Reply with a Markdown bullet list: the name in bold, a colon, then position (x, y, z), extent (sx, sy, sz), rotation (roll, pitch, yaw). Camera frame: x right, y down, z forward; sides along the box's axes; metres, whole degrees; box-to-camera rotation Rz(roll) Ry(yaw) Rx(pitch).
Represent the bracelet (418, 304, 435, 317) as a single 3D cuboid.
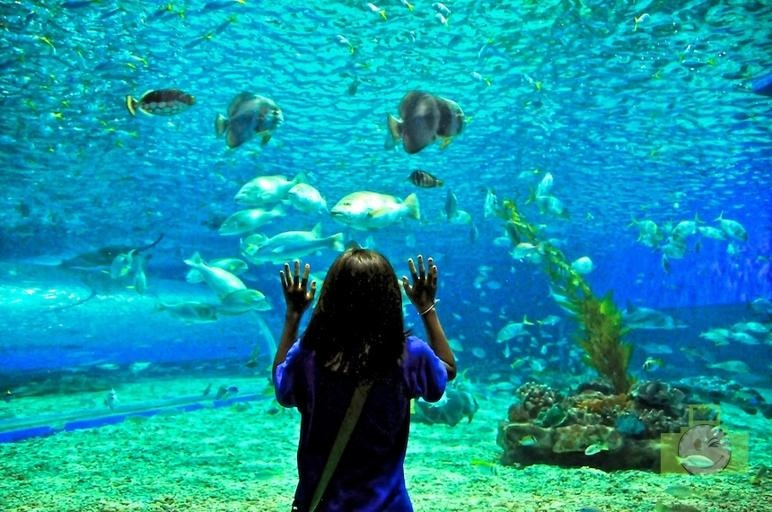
- **bracelet**: position (1.095, 1.443, 16.979), extent (0.378, 0.125, 0.302), rotation (-30, -10, 14)
